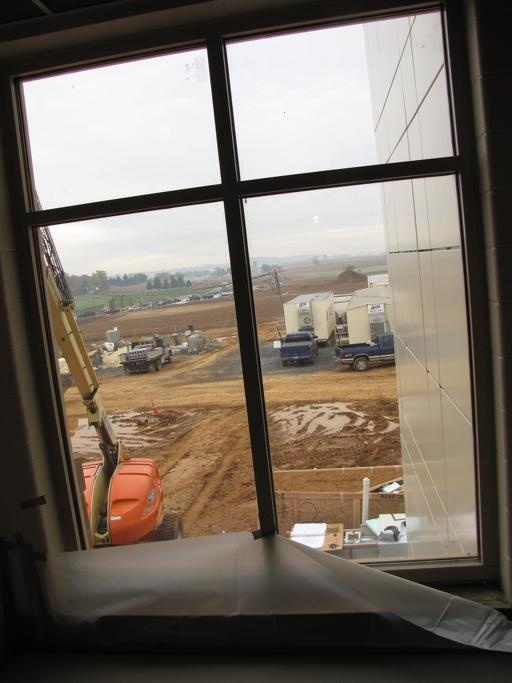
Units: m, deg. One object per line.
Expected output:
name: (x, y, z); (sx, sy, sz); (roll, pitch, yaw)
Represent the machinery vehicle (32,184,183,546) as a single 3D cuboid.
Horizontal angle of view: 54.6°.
machinery vehicle: (-0.677, 0.154, 2.264); (0.400, 1.630, 0.488); (-11, 10, -16)
